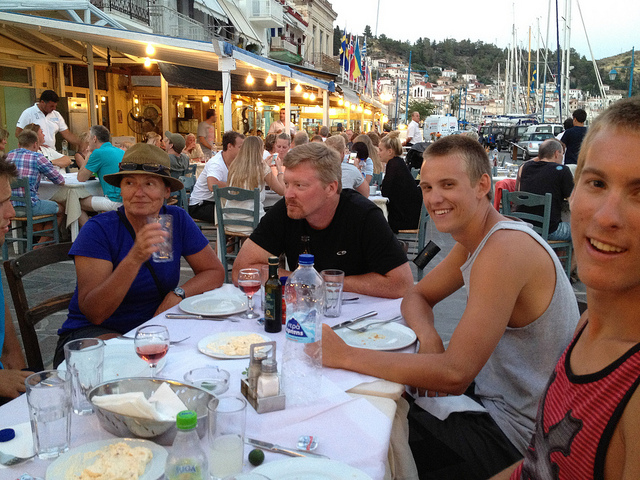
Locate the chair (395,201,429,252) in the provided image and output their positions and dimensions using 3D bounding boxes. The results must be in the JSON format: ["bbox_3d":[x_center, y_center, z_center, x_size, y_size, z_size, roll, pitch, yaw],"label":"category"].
[{"bbox_3d":[1.321,-0.180,7.811,0.442,0.651,0.450,14,14,34],"label":"chair"}]

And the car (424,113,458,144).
[{"bbox_3d":[9.080,-8.758,42.098,1.710,2.082,3.679,-5,15,-20],"label":"car"}]

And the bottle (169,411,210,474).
[{"bbox_3d":[-0.402,0.637,1.655,0.136,0.238,0.089,-7,17,-28],"label":"bottle"}]

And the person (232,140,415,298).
[{"bbox_3d":[0.070,-0.092,3.799,1.359,1.097,0.806,3,11,33],"label":"person"}]

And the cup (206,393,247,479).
[{"bbox_3d":[-0.311,0.648,1.758,0.122,0.250,0.118,1,15,0],"label":"cup"}]

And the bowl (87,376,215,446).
[{"bbox_3d":[-0.649,0.599,1.934,0.338,0.105,0.271,8,8,19],"label":"bowl"}]

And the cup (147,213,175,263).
[{"bbox_3d":[-0.860,-0.005,2.886,0.126,0.297,0.197,-4,16,-17],"label":"cup"}]

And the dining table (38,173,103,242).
[{"bbox_3d":[-3.421,-0.467,7.258,0.867,0.670,0.890,7,10,26],"label":"dining table"}]
